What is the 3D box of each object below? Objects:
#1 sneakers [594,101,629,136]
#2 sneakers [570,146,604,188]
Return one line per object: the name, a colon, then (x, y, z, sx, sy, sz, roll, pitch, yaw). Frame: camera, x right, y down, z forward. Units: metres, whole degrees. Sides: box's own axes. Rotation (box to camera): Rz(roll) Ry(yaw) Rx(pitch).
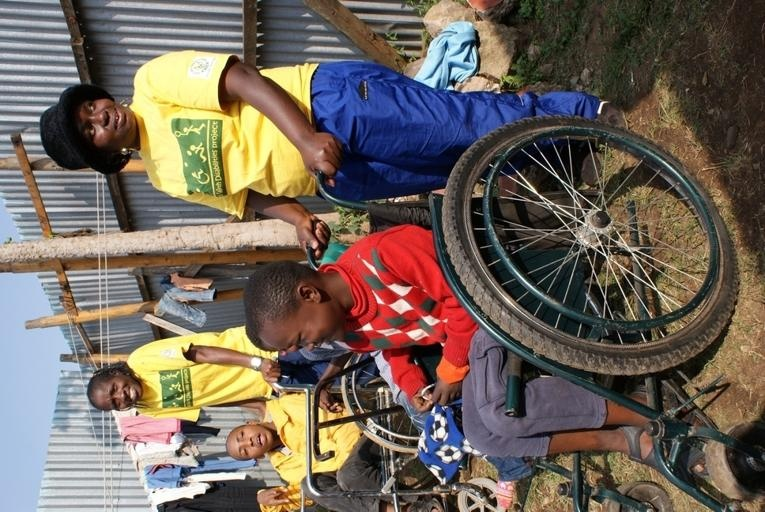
sneakers: (1.865, -1.147, 6.477, 0.167, 0.202, 0.338, 3, 10, 31)
sneakers: (1.634, -0.720, 6.411, 0.240, 0.348, 0.279, 0, 9, 14)
